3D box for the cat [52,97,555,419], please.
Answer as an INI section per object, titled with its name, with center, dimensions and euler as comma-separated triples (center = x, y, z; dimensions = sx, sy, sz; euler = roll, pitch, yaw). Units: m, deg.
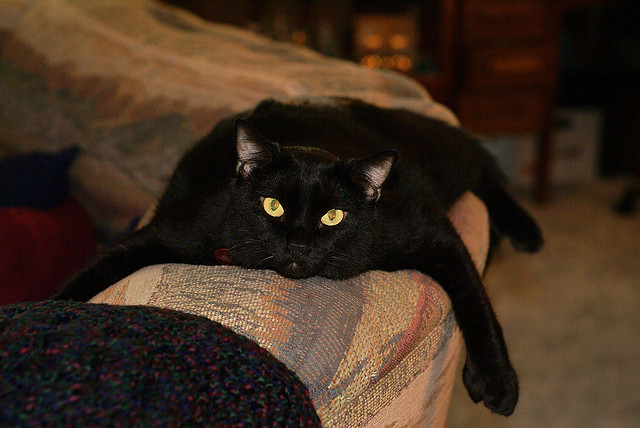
[cat]
center = 0.026, 0.000, 2.273
dimensions = 1.365, 1.580, 0.619
euler = -3, 106, 8
